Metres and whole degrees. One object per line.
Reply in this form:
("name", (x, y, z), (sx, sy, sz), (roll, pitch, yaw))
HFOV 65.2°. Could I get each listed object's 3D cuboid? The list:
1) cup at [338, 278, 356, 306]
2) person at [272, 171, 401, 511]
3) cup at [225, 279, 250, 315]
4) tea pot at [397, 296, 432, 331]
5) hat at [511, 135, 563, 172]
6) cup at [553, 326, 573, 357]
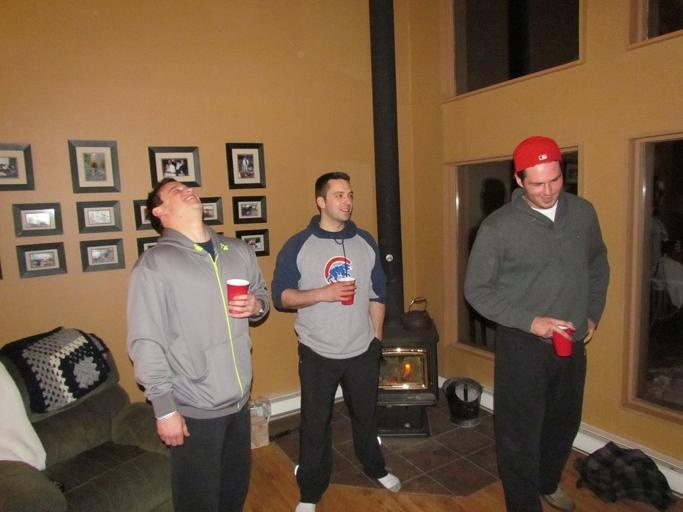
("cup", (0.047, 0.220, 3.309), (0.145, 0.203, 0.140), (0, 13, 0))
("person", (-0.043, 0.562, 3.519), (0.749, 2.180, 0.543), (-4, 9, 1))
("cup", (-0.556, 0.205, 2.816), (0.120, 0.095, 0.120), (5, 5, 0))
("tea pot", (0.633, 0.481, 4.409), (0.238, 0.246, 0.235), (-1, 15, 0))
("hat", (1.113, -0.606, 3.025), (0.234, 0.155, 0.225), (-1, 4, 8))
("cup", (1.211, 0.465, 2.888), (0.112, 0.156, 0.077), (-6, 9, -8))
